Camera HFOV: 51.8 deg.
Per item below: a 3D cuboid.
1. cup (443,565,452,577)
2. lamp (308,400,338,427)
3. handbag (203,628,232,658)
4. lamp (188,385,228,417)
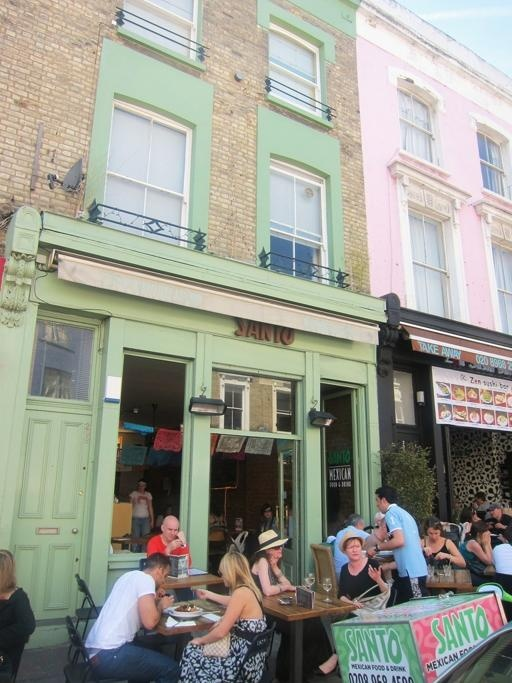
[{"bbox_3d":[2.131,2.534,5.851,0.084,0.083,0.132,3,8,19],"label":"cup"},{"bbox_3d":[1.090,1.166,8.512,0.441,0.433,0.226,17,-35,-40],"label":"lamp"},{"bbox_3d":[-0.259,2.058,3.591,0.244,0.247,0.074,-6,-34,10],"label":"handbag"},{"bbox_3d":[-0.673,0.796,7.065,0.416,0.370,0.161,11,-34,-33],"label":"lamp"}]
